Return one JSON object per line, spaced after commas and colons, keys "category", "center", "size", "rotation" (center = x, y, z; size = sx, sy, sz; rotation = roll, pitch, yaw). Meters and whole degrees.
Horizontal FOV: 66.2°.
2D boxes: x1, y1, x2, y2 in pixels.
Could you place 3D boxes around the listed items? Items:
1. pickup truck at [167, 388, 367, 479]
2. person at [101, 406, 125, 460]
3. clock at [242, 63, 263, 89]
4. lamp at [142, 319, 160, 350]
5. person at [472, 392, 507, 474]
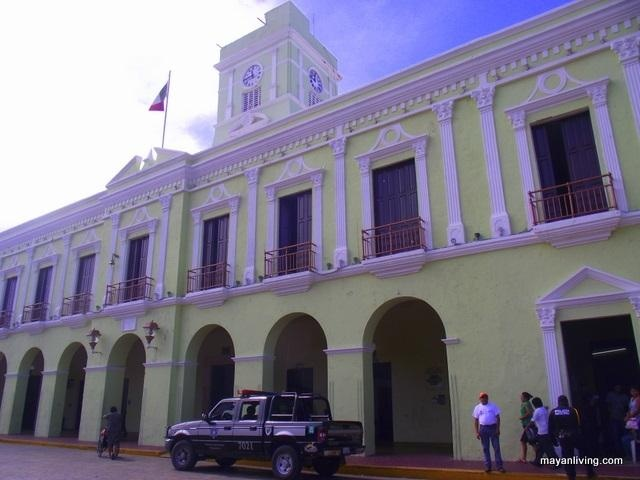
{"category": "pickup truck", "center": [-1.384, 4.930, 12.520], "size": [5.053, 2.012, 2.129], "rotation": [-14, -23, 30]}
{"category": "person", "center": [-6.334, 5.897, 15.052], "size": [0.545, 1.482, 0.761], "rotation": [7, -21, -23]}
{"category": "clock", "center": [-3.303, -8.135, 24.516], "size": [1.339, 1.450, 0.096], "rotation": [-14, -29, 30]}
{"category": "lamp", "center": [-6.055, 3.429, 17.721], "size": [0.562, 0.915, 0.940], "rotation": [6, -21, -21]}
{"category": "person", "center": [3.778, 4.277, 10.950], "size": [0.501, 1.631, 0.546], "rotation": [10, -22, -30]}
